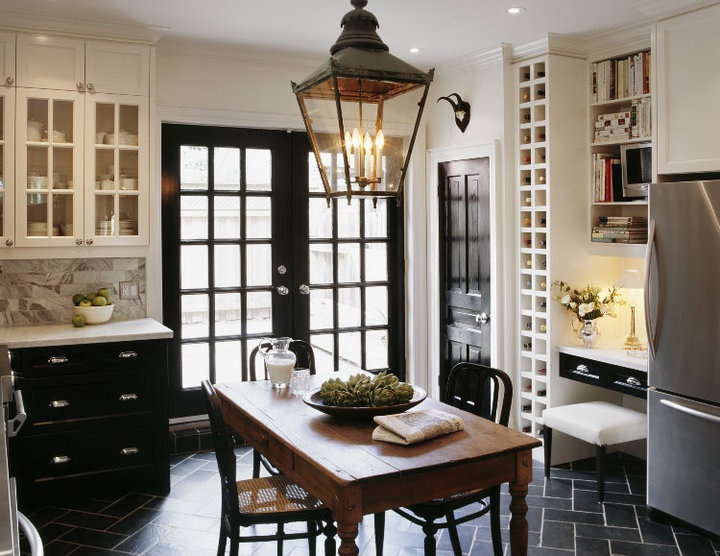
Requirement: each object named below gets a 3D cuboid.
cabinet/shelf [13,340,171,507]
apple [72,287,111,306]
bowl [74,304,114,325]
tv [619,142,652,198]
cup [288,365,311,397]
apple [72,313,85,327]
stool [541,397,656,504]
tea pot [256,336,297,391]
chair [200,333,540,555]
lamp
[{"bbox_3d":[-1.760,0.924,3.702,1.057,1.066,0.565,0,-3,-26],"label":"cabinet/shelf"},{"bbox_3d":[-1.934,0.148,4.160,0.201,0.134,0.149,-8,-20,18],"label":"apple"},{"bbox_3d":[-1.880,0.254,4.087,0.176,0.099,0.176,-2,-7,0],"label":"bowl"},{"bbox_3d":[1.959,-0.739,4.169,0.241,0.342,0.179,-4,-5,-8],"label":"tv"},{"bbox_3d":[-0.333,0.566,3.227,0.129,0.133,0.130,2,4,0],"label":"cup"},{"bbox_3d":[-1.984,0.297,4.057,0.086,0.083,0.087,-1,6,-12],"label":"apple"},{"bbox_3d":[1.692,1.174,4.098,0.540,0.499,0.619,-3,2,-21],"label":"stool"},{"bbox_3d":[-0.473,0.489,3.367,0.267,0.317,0.243,-2,1,0],"label":"tea pot"},{"bbox_3d":[0.046,0.928,2.850,0.981,0.604,1.341,-6,6,-32],"label":"chair"},{"bbox_3d":[-0.016,-0.706,2.347,0.495,0.812,0.837,-4,5,-4],"label":"lamp"}]
